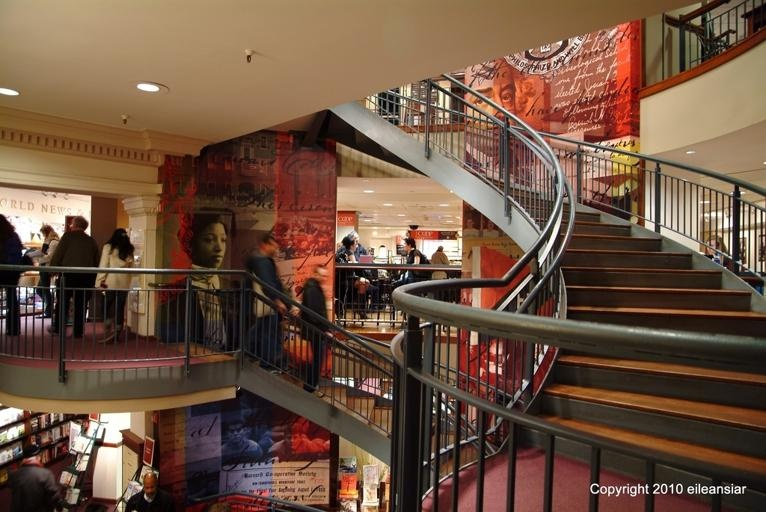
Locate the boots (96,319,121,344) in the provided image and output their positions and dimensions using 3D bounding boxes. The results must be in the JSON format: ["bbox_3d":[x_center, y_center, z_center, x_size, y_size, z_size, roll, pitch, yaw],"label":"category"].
[{"bbox_3d":[-3.918,1.064,7.897,0.185,0.352,1.159,0,1,-22],"label":"boots"}]

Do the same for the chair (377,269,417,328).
[{"bbox_3d":[0.258,0.803,10.995,0.634,1.138,1.922,0,1,0],"label":"chair"}]
